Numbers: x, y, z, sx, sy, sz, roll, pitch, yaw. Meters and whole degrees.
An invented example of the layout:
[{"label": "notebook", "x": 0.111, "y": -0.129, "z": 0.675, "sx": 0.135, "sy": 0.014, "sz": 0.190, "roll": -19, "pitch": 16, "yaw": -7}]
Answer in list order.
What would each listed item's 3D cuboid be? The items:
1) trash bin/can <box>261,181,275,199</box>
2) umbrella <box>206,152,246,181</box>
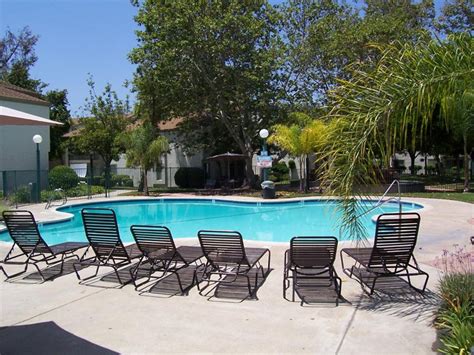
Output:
[{"label": "trash bin/can", "x": 1.627, "y": 0.672, "z": 21.742, "sx": 0.753, "sy": 1.026, "sz": 0.794, "roll": -1, "pitch": -2, "yaw": 20}, {"label": "umbrella", "x": -1.149, "y": -0.933, "z": 33.219, "sx": 2.041, "sy": 1.659, "sz": 2.199, "roll": -5, "pitch": 3, "yaw": -37}]
